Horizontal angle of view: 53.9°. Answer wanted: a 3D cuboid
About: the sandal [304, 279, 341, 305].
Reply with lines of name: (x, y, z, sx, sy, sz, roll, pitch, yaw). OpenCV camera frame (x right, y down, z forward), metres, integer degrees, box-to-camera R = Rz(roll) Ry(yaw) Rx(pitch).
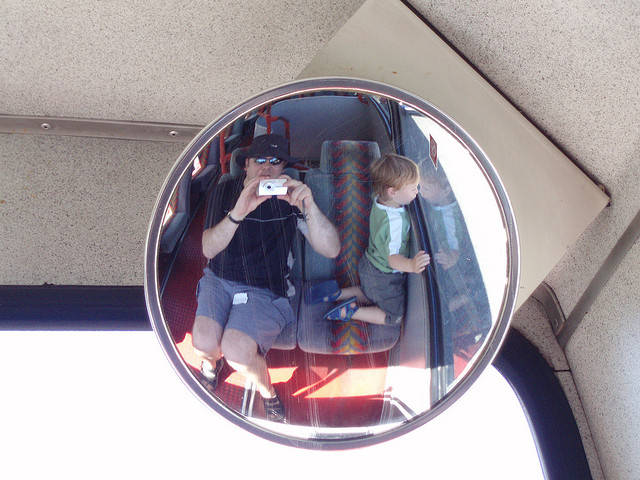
sandal: (0.006, 0.177, 2.144, 0.106, 0.081, 0.035, -19, -16, 16)

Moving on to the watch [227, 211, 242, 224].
watch: (-0.269, -0.071, 1.957, 0.047, 0.057, 0.015, -3, 21, 2)

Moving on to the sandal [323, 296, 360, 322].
sandal: (0.069, 0.245, 2.105, 0.134, 0.052, 0.038, -31, 13, 9)
